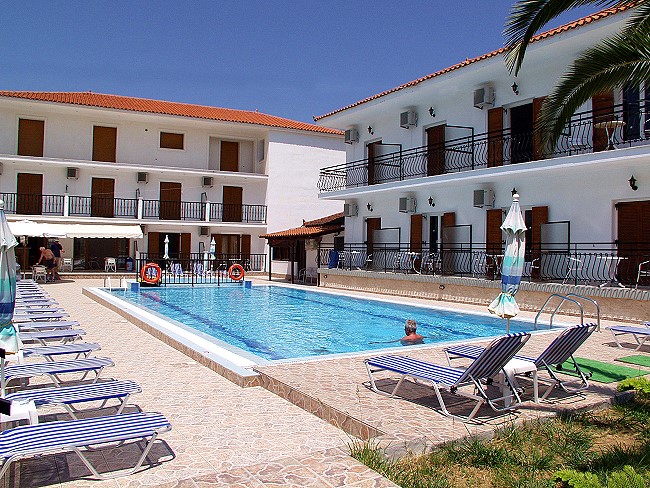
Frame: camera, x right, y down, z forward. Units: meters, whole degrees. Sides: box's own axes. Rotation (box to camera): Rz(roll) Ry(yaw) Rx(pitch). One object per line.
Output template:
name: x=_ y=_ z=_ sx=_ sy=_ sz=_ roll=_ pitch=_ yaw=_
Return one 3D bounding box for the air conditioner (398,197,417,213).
air conditioner: x=3.279 y=-1.525 z=20.843 sx=0.602 sy=0.797 sz=0.837 roll=2 pitch=-1 yaw=-24

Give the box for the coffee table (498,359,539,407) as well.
coffee table: x=2.543 y=1.765 z=6.563 sx=0.544 sy=0.446 sz=0.533 roll=1 pitch=-6 yaw=-28

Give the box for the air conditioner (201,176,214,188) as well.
air conditioner: x=-7.229 y=-3.852 z=31.306 sx=0.641 sy=0.509 sz=0.903 roll=-1 pitch=0 yaw=-15

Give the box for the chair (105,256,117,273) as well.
chair: x=-11.808 y=1.130 z=27.990 sx=0.869 sy=1.036 sz=0.858 roll=1 pitch=-1 yaw=-28

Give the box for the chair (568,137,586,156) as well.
chair: x=7.741 y=-3.066 z=15.503 sx=0.503 sy=0.525 sz=1.009 roll=-1 pitch=0 yaw=26

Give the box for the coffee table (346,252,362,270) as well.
coffee table: x=1.336 y=0.775 z=23.100 sx=0.808 sy=0.921 sz=0.162 roll=2 pitch=1 yaw=37

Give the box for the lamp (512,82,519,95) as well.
lamp: x=6.363 y=-5.224 z=16.951 sx=0.202 sy=0.455 sz=0.356 roll=-1 pitch=0 yaw=19

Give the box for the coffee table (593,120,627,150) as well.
coffee table: x=7.859 y=-2.985 z=14.069 sx=0.636 sy=0.885 sz=2.082 roll=-1 pitch=0 yaw=28

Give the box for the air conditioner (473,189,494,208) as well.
air conditioner: x=5.462 y=-1.466 z=17.760 sx=0.600 sy=0.798 sz=0.843 roll=0 pitch=-2 yaw=-12

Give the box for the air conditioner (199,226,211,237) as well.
air conditioner: x=-7.222 y=-0.809 z=30.638 sx=0.512 sy=0.441 sz=0.606 roll=-1 pitch=0 yaw=19

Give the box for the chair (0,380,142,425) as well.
chair: x=-2.771 y=1.663 z=5.643 sx=1.086 sy=0.277 sz=0.511 roll=2 pitch=4 yaw=-21

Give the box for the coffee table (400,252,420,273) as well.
coffee table: x=3.438 y=0.707 z=20.550 sx=0.483 sy=0.833 sz=1.326 roll=-1 pitch=0 yaw=-31

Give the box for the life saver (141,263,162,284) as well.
life saver: x=-7.674 y=1.367 z=22.525 sx=0.954 sy=1.101 sz=0.477 roll=2 pitch=0 yaw=-14

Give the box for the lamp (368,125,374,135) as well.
lamp: x=2.053 y=-5.166 z=23.033 sx=0.151 sy=0.404 sz=0.324 roll=-2 pitch=1 yaw=-41

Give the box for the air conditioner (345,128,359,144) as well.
air conditioner: x=1.273 y=-5.178 z=24.034 sx=0.464 sy=0.746 sz=0.761 roll=-1 pitch=0 yaw=-30

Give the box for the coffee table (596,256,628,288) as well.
coffee table: x=7.968 y=0.817 z=14.290 sx=0.983 sy=0.891 sz=0.996 roll=-2 pitch=-3 yaw=44

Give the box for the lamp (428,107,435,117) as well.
lamp: x=4.222 y=-5.190 z=20.028 sx=0.206 sy=0.392 sz=0.305 roll=-1 pitch=0 yaw=-6

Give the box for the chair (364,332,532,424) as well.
chair: x=1.513 y=1.618 z=6.692 sx=1.018 sy=0.980 sz=2.068 roll=6 pitch=-4 yaw=-44

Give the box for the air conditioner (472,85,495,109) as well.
air conditioner: x=5.545 y=-5.193 z=17.723 sx=0.625 sy=0.767 sz=0.557 roll=-1 pitch=0 yaw=-39

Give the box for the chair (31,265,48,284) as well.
chair: x=-13.520 y=1.414 z=24.059 sx=0.989 sy=1.129 sz=0.887 roll=1 pitch=-2 yaw=-30

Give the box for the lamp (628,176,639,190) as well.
lamp: x=8.474 y=-1.676 z=13.974 sx=0.154 sy=0.406 sz=0.234 roll=-2 pitch=1 yaw=-43

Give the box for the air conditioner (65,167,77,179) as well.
air conditioner: x=-14.073 y=-3.973 z=28.262 sx=0.608 sy=0.574 sz=0.628 roll=-1 pitch=0 yaw=-27

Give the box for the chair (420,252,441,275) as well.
chair: x=4.055 y=0.749 z=19.554 sx=0.644 sy=0.813 sz=0.306 roll=3 pitch=2 yaw=28

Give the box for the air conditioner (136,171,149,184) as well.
air conditioner: x=-10.534 y=-3.795 z=29.526 sx=0.784 sy=0.697 sz=0.509 roll=0 pitch=1 yaw=-43

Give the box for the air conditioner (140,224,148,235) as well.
air conditioner: x=-10.345 y=-0.866 z=28.917 sx=0.309 sy=0.481 sz=0.529 roll=-1 pitch=0 yaw=-19

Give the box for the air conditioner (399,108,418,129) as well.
air conditioner: x=3.413 y=-5.211 z=20.913 sx=0.468 sy=0.839 sz=0.697 roll=-2 pitch=0 yaw=-36

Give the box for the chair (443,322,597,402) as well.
chair: x=2.694 y=1.643 z=7.557 sx=0.809 sy=0.938 sz=2.278 roll=0 pitch=-4 yaw=-36
